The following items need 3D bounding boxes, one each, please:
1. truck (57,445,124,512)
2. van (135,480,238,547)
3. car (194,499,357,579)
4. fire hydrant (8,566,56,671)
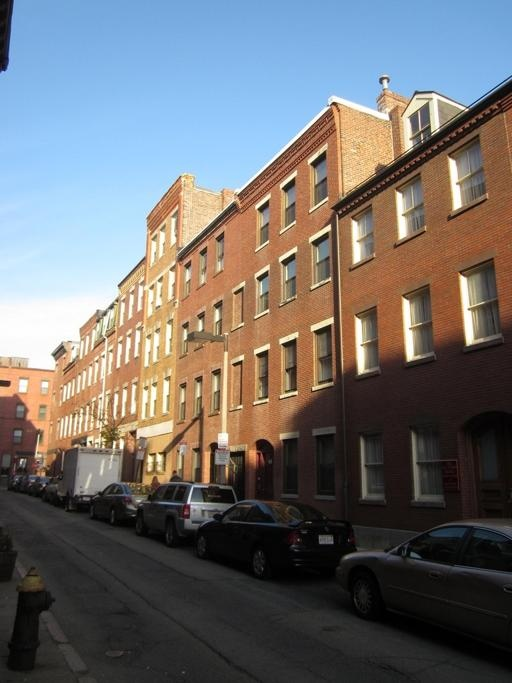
[{"bbox_3d":[-8.694,7.127,26.818,2.130,2.909,4.407,14,-21,-26],"label":"truck"},{"bbox_3d":[-2.040,4.606,14.957,1.620,1.421,3.314,10,-13,-30],"label":"van"},{"bbox_3d":[0.271,3.706,10.296,1.375,1.069,3.200,11,-18,-26],"label":"car"},{"bbox_3d":[-1.803,2.197,4.224,0.299,0.769,0.423,7,-16,-34],"label":"fire hydrant"}]
